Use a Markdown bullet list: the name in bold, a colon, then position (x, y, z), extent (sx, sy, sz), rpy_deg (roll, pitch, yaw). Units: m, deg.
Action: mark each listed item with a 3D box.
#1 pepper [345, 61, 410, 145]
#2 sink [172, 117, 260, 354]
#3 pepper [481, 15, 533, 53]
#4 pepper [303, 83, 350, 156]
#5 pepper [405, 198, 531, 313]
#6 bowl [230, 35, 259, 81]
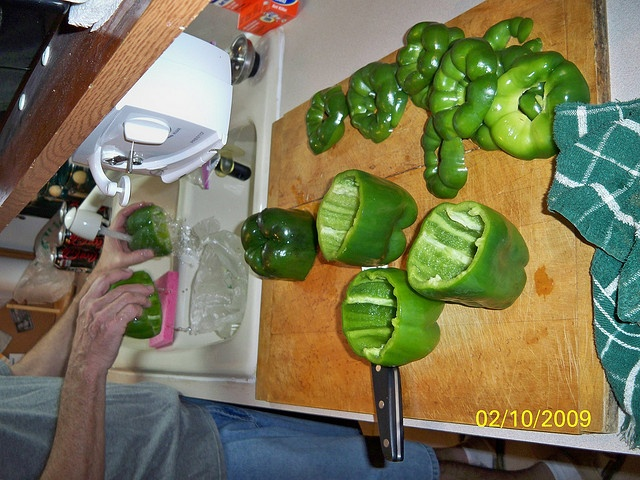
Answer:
- **pepper**: position (0.112, -0.272, 0.980), extent (0.057, 0.150, 0.150), rpy_deg (-2, 38, -34)
- **sink**: position (-0.311, -0.018, 1.488), extent (0.133, 0.681, 0.376), rpy_deg (18, -29, -32)
- **pepper**: position (0.324, -0.359, 0.815), extent (0.076, 0.048, 0.031), rpy_deg (-10, -5, 26)
- **pepper**: position (0.022, -0.284, 1.093), extent (0.054, 0.145, 0.109), rpy_deg (11, -18, -35)
- **pepper**: position (0.224, 0.041, 0.804), extent (0.174, 0.163, 0.186), rpy_deg (23, -29, -32)
- **bowl**: position (-0.226, -0.532, 1.409), extent (0.061, 0.137, 0.130), rpy_deg (-3, 7, -39)
